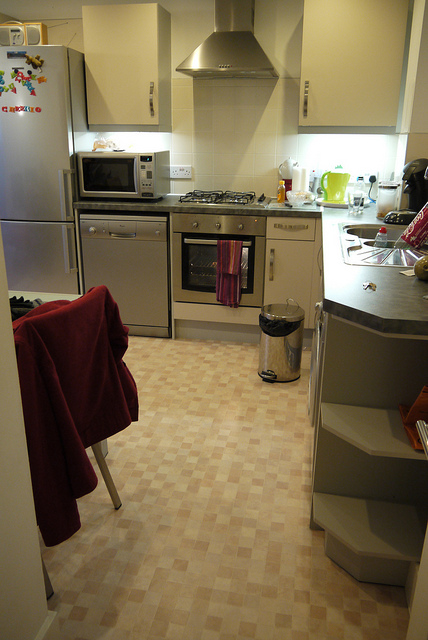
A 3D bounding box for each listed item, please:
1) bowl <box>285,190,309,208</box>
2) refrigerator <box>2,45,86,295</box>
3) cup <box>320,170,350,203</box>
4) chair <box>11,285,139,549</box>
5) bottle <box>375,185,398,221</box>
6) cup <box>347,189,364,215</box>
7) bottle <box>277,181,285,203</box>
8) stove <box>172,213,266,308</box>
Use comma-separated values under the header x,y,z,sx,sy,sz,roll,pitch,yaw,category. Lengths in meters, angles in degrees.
x,y,z,sx,sy,sz,roll,pitch,yaw,category
0.564,-0.819,3.150,0.120,0.091,0.130,-1,29,1,bowl
-1.258,-1.024,3.297,0.629,1.657,0.189,3,17,10,refrigerator
0.822,-0.929,3.213,0.194,0.200,0.203,0,18,0,cup
-0.423,0.272,1.314,0.274,0.650,0.464,2,17,15,chair
1.056,-0.727,2.815,0.118,0.189,0.303,7,19,20,bottle
0.924,-0.773,3.014,0.103,0.132,0.276,5,19,15,cup
0.489,-0.938,3.357,0.054,0.144,0.183,2,18,8,bottle
0.087,-0.552,3.392,0.762,0.862,0.557,5,23,12,stove
